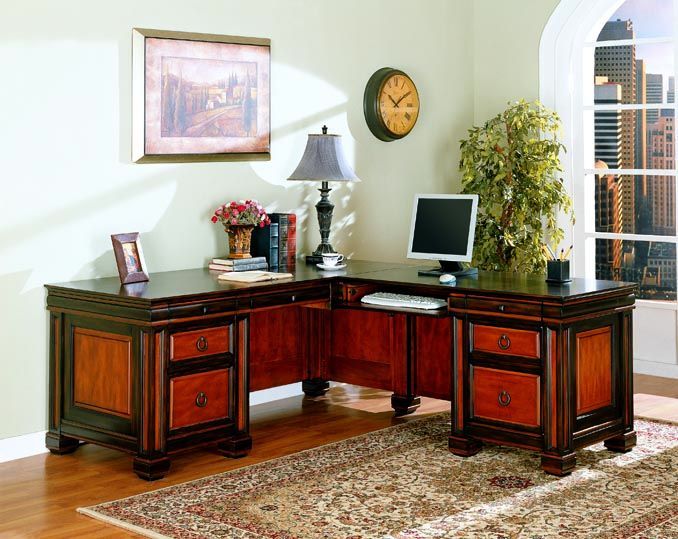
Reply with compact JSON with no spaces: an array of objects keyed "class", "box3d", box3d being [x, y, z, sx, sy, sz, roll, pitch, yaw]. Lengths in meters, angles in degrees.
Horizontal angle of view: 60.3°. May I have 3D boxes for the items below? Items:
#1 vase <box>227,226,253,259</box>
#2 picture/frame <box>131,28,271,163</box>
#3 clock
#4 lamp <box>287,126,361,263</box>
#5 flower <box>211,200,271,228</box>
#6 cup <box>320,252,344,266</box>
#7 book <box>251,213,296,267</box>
[{"class":"vase","box3d":[-0.639,-0.179,3.756,0.200,0.198,0.208,1,4,16]},{"class":"picture/frame","box3d":[-0.914,-1.114,3.722,0.989,0.749,0.045,-9,15,-38]},{"class":"clock","box3d":[0.440,-1.346,4.821,0.530,0.584,0.131,-3,2,-41]},{"class":"lamp","box3d":[-0.124,-0.561,4.225,0.463,1.034,0.646,-1,2,-4]},{"class":"flower","box3d":[-0.624,-0.359,3.796,0.350,0.180,0.209,-3,2,-41]},{"class":"cup","box3d":[-0.049,-0.069,3.885,0.127,0.066,0.091,2,4,18]},{"class":"book","box3d":[-0.380,-0.220,4.127,0.351,0.451,0.366,3,6,21]}]
